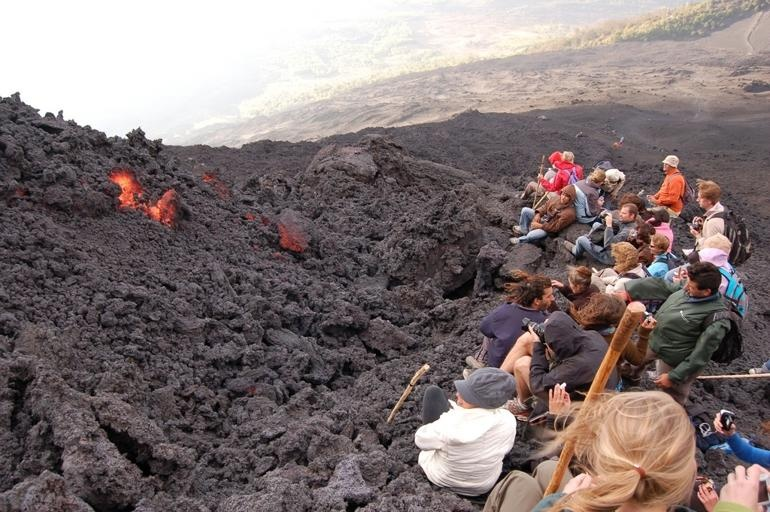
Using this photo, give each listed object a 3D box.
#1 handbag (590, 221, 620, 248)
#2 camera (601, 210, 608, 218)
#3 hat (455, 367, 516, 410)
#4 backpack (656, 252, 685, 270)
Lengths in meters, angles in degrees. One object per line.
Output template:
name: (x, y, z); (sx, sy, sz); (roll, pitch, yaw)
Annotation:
handbag: (4.728, -0.483, 12.996); (0.537, 0.255, 0.523); (42, 101, 38)
camera: (5.011, -0.958, 13.692); (0.174, 0.051, 0.118); (-27, 8, -34)
hat: (1.504, 2.050, 9.284); (0.923, 0.377, 0.571); (5, 38, 3)
backpack: (5.736, 0.105, 12.120); (0.619, 0.168, 0.388); (-5, 21, -25)
